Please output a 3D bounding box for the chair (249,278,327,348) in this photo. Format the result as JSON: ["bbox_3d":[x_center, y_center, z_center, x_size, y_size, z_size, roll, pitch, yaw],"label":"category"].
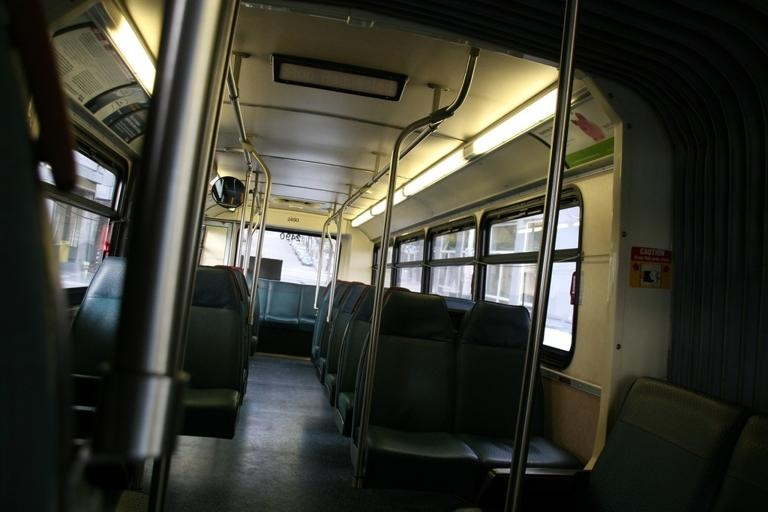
[{"bbox_3d":[-1.513,1.011,8.463,1.539,1.278,0.885,5,-13,-13],"label":"chair"}]
